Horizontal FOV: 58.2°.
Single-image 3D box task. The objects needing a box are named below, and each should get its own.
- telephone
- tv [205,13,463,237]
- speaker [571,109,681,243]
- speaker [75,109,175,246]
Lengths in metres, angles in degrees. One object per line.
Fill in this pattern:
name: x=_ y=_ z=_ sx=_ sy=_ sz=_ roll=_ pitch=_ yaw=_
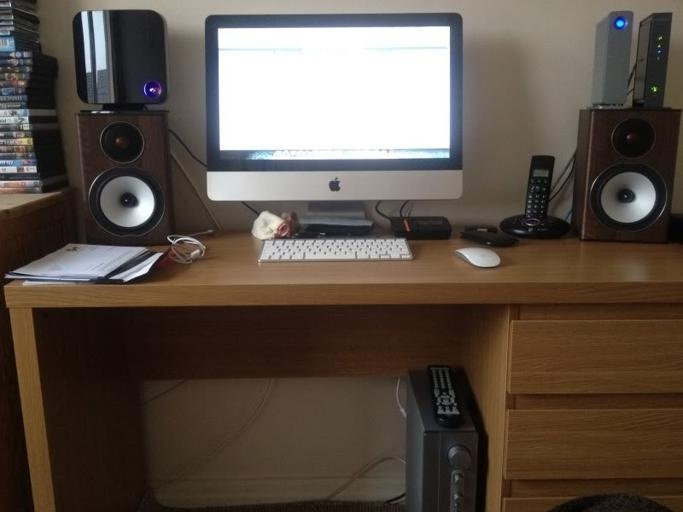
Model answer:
telephone: x=0.568 y=-0.172 z=1.792 sx=0.196 sy=0.225 sz=0.120 roll=3 pitch=17 yaw=18
tv: x=-0.017 y=-0.396 z=1.733 sx=0.621 sy=0.552 sz=0.206 roll=0 pitch=4 yaw=-1
speaker: x=0.807 y=-0.224 z=1.720 sx=0.257 sy=0.364 sz=0.103 roll=-2 pitch=16 yaw=2
speaker: x=-0.624 y=-0.257 z=1.778 sx=0.268 sy=0.413 sz=0.268 roll=1 pitch=27 yaw=-4
